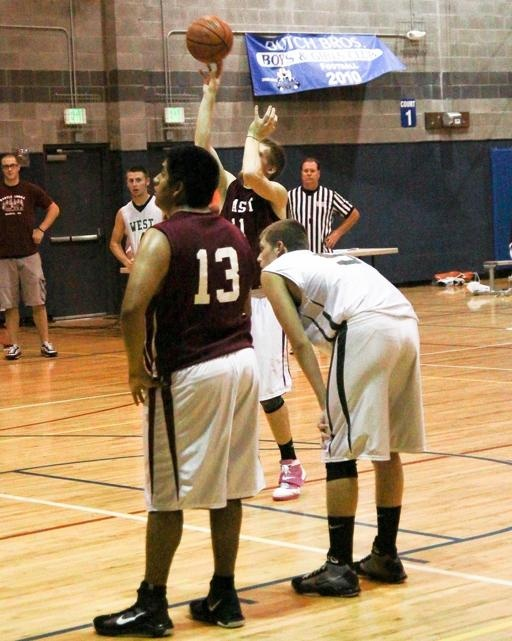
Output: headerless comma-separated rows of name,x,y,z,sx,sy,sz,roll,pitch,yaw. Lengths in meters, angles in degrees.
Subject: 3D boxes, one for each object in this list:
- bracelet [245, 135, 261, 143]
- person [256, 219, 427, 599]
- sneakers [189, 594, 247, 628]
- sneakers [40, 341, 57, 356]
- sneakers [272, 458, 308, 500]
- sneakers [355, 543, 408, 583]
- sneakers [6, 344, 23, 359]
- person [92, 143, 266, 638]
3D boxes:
bracelet,-0.015,-0.782,3.058,0.040,0.030,0.041,9,13,41
person,0.262,0.271,1.998,0.326,0.989,0.392,-6,-4,40
sneakers,-0.091,0.711,1.791,0.061,0.072,0.164,1,3,-41
sneakers,-2.464,0.346,8.415,0.103,0.118,0.266,-2,3,-27
sneakers,0.158,0.734,3.228,0.082,0.099,0.235,-5,4,15
sneakers,0.360,0.711,2.119,0.069,0.078,0.191,-12,10,-27
sneakers,-2.899,0.373,8.420,0.178,0.194,0.317,-2,-3,-19
person,-0.146,0.161,1.720,0.465,1.179,0.287,-1,-4,-31
